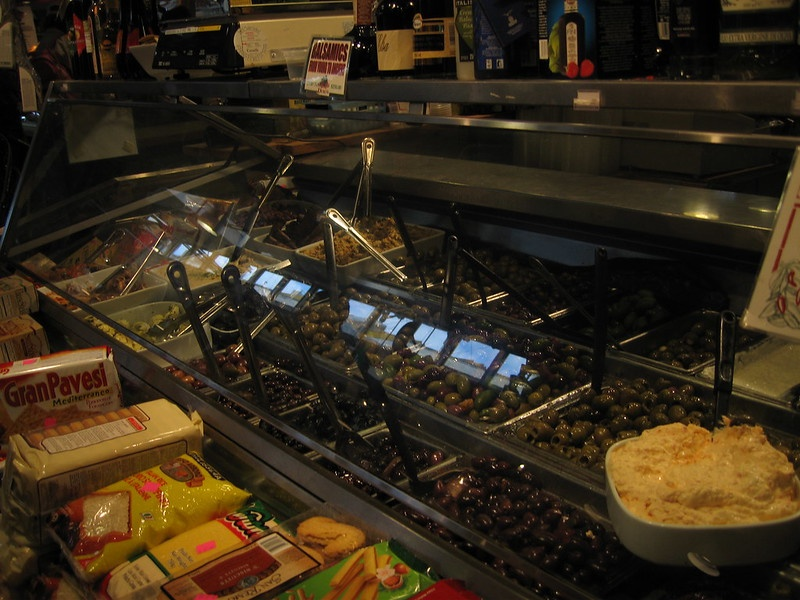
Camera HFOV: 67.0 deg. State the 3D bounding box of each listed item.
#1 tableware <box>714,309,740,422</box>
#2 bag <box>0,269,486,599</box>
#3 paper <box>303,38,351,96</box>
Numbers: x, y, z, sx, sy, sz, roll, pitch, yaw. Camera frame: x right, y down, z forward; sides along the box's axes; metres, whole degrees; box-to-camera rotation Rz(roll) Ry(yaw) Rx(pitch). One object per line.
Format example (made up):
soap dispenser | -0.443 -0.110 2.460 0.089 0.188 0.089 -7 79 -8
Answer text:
tableware | 0.624 0.124 1.158 0.028 0.241 0.035 0 3 -44
bag | -0.620 0.365 1.681 0.933 0.203 0.470 32 22 13
paper | -0.196 -0.621 1.602 0.013 0.153 0.221 24 26 17
